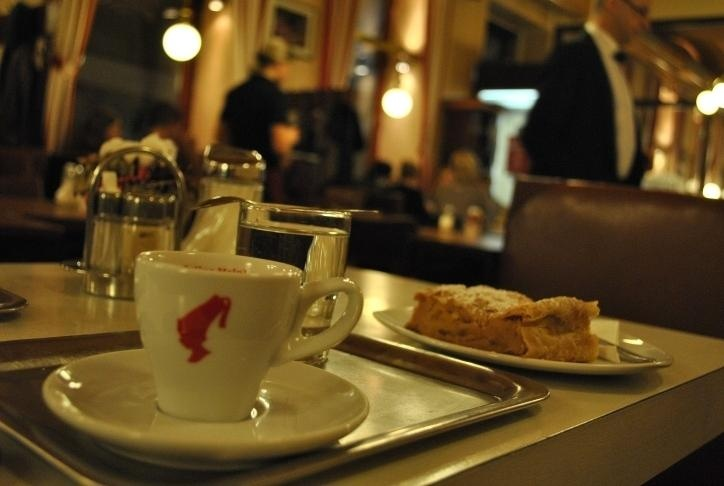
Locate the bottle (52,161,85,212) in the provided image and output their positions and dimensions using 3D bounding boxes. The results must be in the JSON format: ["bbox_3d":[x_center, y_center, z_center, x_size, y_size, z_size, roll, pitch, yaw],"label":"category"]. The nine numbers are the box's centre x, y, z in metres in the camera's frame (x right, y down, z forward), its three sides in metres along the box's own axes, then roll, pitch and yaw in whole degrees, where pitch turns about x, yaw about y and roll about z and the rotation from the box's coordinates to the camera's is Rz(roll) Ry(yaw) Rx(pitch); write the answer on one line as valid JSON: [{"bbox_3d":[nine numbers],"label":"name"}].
[{"bbox_3d":[-0.908,-0.174,1.855,0.108,0.143,0.102,2,1,0],"label":"bottle"}]

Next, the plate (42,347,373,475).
[{"bbox_3d":[-0.110,0.133,0.451,0.191,0.033,0.186,-8,13,-25],"label":"plate"}]

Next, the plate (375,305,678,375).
[{"bbox_3d":[0.191,0.107,0.682,0.212,0.018,0.214,-11,-1,-19],"label":"plate"}]

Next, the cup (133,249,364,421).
[{"bbox_3d":[-0.106,0.077,0.501,0.182,0.111,0.132,4,-2,-10],"label":"cup"}]

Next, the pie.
[{"bbox_3d":[0.164,0.079,0.686,0.158,0.049,0.103,1,-1,40],"label":"pie"}]
